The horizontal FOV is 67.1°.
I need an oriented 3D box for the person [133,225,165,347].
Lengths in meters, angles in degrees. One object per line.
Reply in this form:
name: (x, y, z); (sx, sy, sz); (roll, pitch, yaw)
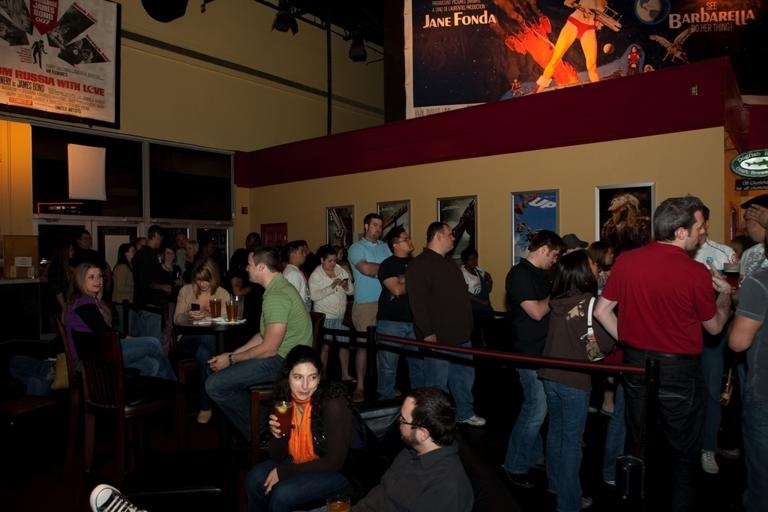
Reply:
person: (-3.561, 0.668, 8.960); (0.584, 2.219, 0.576); (-3, 14, -33)

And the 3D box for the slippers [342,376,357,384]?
slippers: (-0.529, 1.720, 8.025); (0.338, 0.088, 0.124); (-6, -6, 38)

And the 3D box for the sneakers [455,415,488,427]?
sneakers: (1.018, 1.899, 6.663); (0.324, 0.160, 0.124); (-3, -1, 4)

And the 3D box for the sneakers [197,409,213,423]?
sneakers: (-2.131, 1.908, 6.877); (0.065, 0.155, 0.169); (14, -37, -4)

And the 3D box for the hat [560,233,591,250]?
hat: (2.489, -0.187, 7.495); (0.204, 0.090, 0.223); (-18, 6, -41)

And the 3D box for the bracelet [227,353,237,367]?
bracelet: (-1.581, 1.064, 5.958); (0.073, 0.120, 0.109); (3, 3, 11)

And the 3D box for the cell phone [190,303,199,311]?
cell phone: (-2.312, 0.623, 7.024); (0.085, 0.100, 0.023); (-4, -2, 17)

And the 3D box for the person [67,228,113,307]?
person: (-4.852, 0.368, 9.822); (0.423, 1.493, 0.531); (7, 24, 36)

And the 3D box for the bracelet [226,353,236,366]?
bracelet: (-1.580, 1.066, 5.962); (0.080, 0.132, 0.119); (5, 12, 16)

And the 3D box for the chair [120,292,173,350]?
chair: (-3.898, 1.036, 9.033); (0.514, 0.512, 0.885); (10, 24, -33)

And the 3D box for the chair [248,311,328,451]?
chair: (-1.129, 1.445, 5.994); (0.664, 0.982, 0.707); (-9, -14, 30)
